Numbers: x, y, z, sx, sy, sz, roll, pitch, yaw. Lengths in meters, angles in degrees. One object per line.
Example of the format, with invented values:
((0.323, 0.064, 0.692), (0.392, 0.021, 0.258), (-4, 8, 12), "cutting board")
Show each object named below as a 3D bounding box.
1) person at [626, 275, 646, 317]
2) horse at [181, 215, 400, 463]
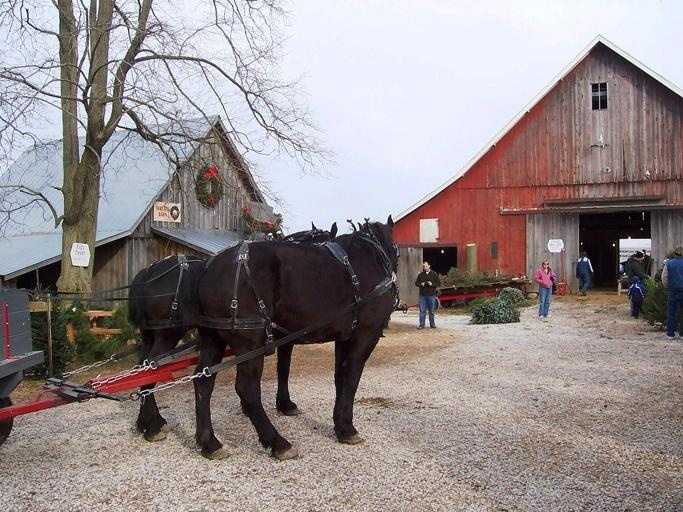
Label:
((8.694, 1.157, 18.056), (0.407, 1.256, 1.240), (3, 8, 26), "person")
((-0.473, 0.992, 8.369), (3.754, 3.278, 1.184), (-1, 0, -34), "horse")
